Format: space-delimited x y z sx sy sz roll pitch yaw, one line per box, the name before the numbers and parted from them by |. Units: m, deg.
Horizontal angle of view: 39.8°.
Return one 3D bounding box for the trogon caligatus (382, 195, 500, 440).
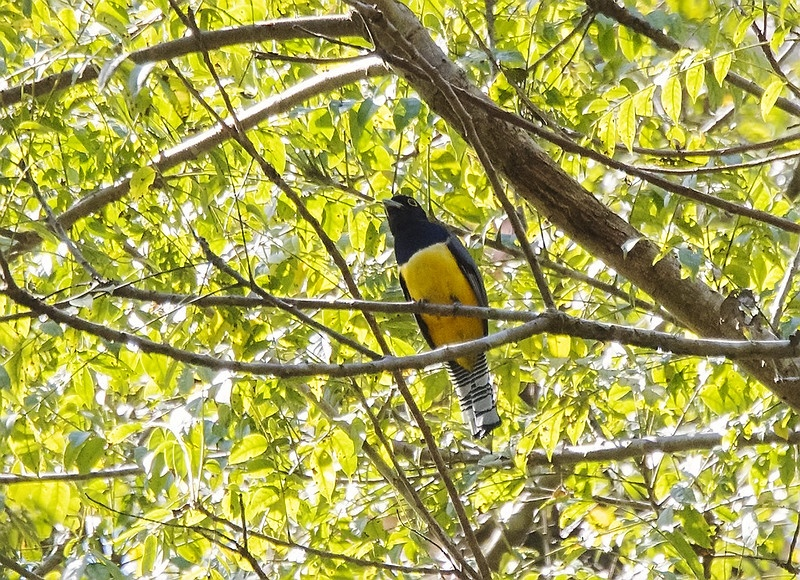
trogon caligatus | 0.243 0.165 6.725 0.470 0.641 1.465 -24 -85 24
